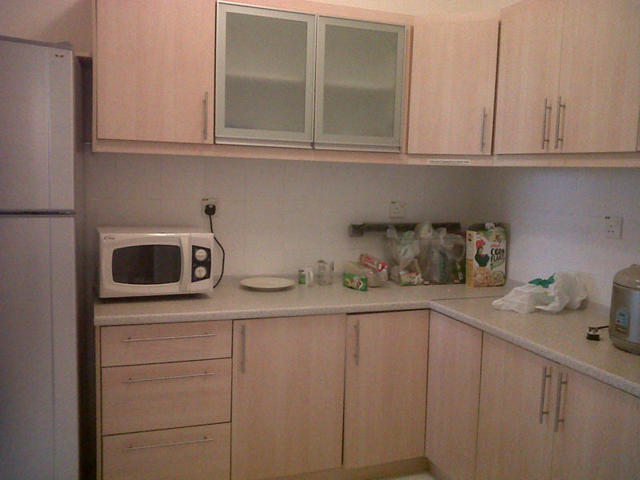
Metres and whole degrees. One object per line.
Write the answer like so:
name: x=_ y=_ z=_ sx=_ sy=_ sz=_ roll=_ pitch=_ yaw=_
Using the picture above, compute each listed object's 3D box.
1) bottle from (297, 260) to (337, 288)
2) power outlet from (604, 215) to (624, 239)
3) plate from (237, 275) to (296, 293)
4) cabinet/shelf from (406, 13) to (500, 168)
bottle: x=-0.018 y=0.177 z=3.071 sx=0.168 sy=0.126 sz=0.143 roll=3 pitch=7 yaw=19
power outlet: x=1.423 y=-0.063 z=2.628 sx=0.015 sy=0.120 sz=0.103 roll=-4 pitch=8 yaw=-28
plate: x=-0.283 y=0.239 z=2.932 sx=0.296 sy=0.064 sz=0.240 roll=-2 pitch=4 yaw=-6
cabinet/shelf: x=0.687 y=-0.836 z=3.039 sx=0.554 sy=0.703 sz=0.488 roll=3 pitch=13 yaw=17
